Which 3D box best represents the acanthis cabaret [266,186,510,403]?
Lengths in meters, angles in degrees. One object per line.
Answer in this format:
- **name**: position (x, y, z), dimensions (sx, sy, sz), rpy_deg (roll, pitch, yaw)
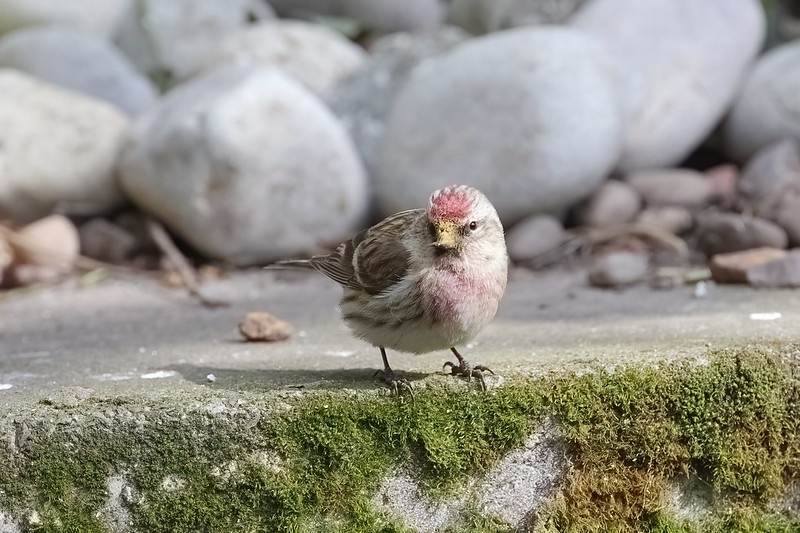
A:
- **acanthis cabaret**: position (0.083, 0.064, 4.980), dimensions (1.105, 0.744, 0.712), rpy_deg (22, 25, 38)
